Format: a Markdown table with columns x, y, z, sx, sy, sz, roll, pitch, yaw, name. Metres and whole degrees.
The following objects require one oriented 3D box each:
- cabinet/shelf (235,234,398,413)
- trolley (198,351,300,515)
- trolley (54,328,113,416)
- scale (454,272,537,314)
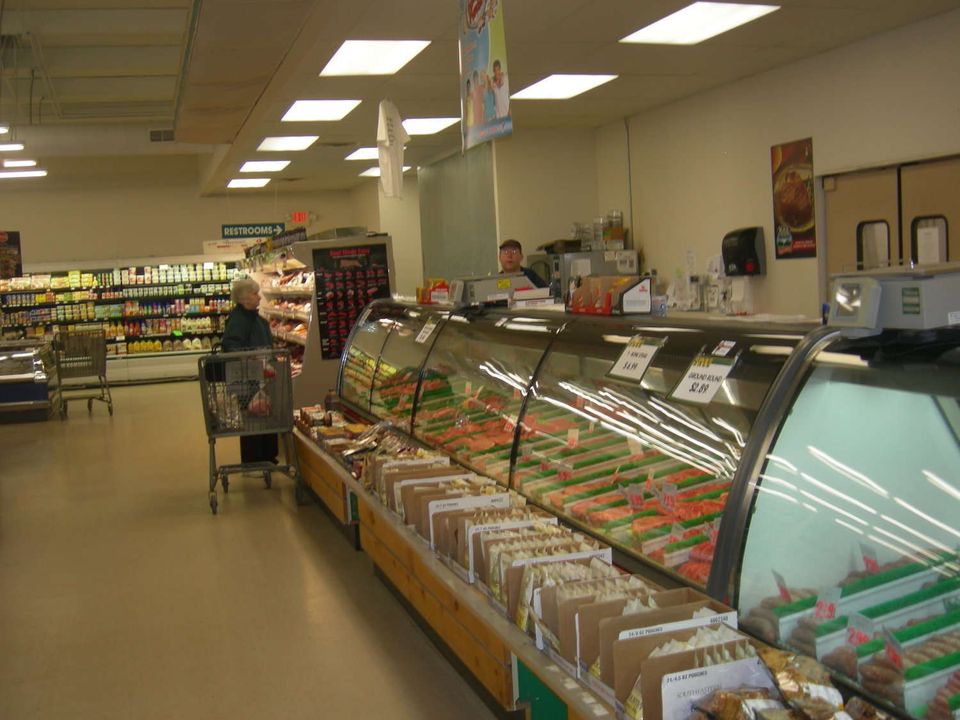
| x | y | z | sx | sy | sz | roll | pitch | yaw | name |
| --- | --- | --- | --- | --- | --- | --- | --- | --- | --- |
| -1.662 | -0.379 | 7.140 | 0.725 | 1.489 | 2.119 | -1 | 4 | -12 | cabinet/shelf |
| -2.074 | 0.560 | 6.159 | 0.752 | 1.354 | 1.066 | -4 | 6 | -22 | trolley |
| -6.530 | 0.189 | 11.297 | 0.897 | 1.328 | 0.724 | -4 | 2 | -34 | trolley |
| 0.056 | -0.483 | 4.727 | 0.419 | 0.149 | 0.317 | -9 | 6 | -13 | scale |
